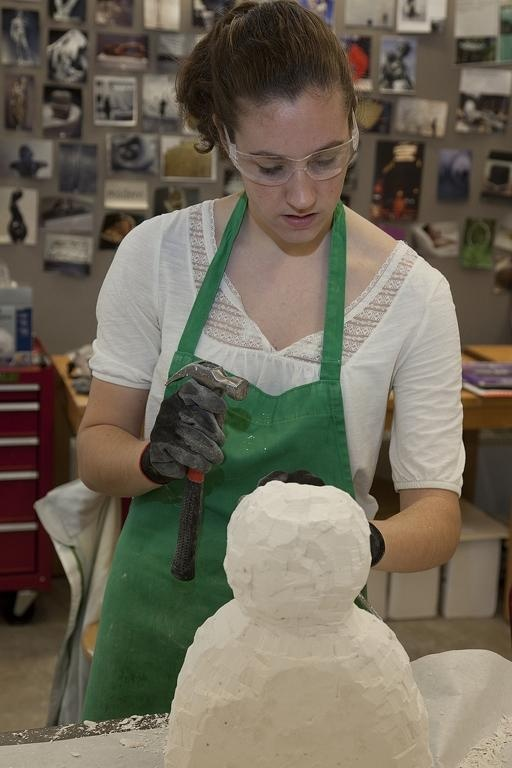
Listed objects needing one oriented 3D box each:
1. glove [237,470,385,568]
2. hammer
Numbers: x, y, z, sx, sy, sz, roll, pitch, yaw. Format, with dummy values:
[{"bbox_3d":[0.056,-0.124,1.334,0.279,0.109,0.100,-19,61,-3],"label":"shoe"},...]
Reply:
[{"bbox_3d":[0.037,0.160,0.884,0.215,0.122,0.128,-6,15,-31],"label":"glove"},{"bbox_3d":[-0.074,0.122,0.931,0.043,0.304,0.137,-3,18,-38],"label":"hammer"}]
